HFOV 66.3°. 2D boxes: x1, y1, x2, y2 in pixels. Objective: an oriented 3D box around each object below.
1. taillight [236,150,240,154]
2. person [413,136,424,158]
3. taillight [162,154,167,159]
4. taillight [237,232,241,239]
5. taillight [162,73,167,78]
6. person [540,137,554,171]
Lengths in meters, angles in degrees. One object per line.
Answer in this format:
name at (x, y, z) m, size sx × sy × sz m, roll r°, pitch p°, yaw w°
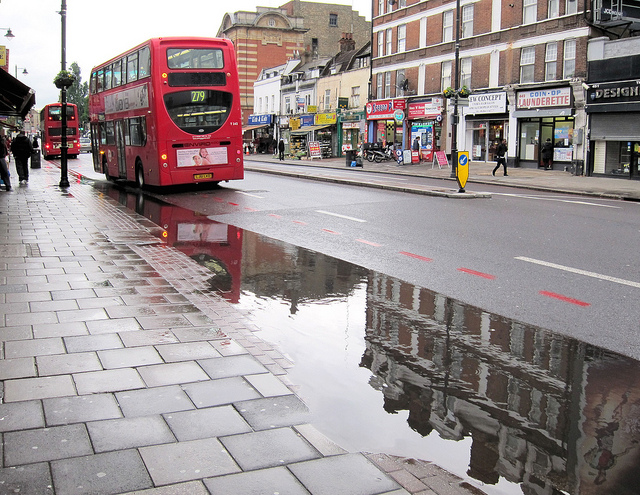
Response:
taillight at (-3.489, -3.975, 20.461) m, size 0.150 × 0.151 × 0.040 m, roll -3°, pitch 7°, yaw -25°
person at (8.352, -8.593, 41.984) m, size 0.880 × 1.803 × 1.577 m, roll 2°, pitch 9°, yaw 10°
taillight at (-6.142, -3.537, 19.153) m, size 0.164 × 0.168 × 0.031 m, roll -5°, pitch 10°, yaw -30°
taillight at (-1.953, -0.290, 11.558) m, size 0.086 × 0.036 × 0.159 m, roll -2°, pitch 30°, yaw -7°
taillight at (-5.934, -6.472, 18.507) m, size 0.162 × 0.163 × 0.011 m, roll -1°, pitch 8°, yaw -11°
person at (15.158, -6.228, 32.662) m, size 0.662 × 2.140 × 1.337 m, roll 5°, pitch 10°, yaw 25°
